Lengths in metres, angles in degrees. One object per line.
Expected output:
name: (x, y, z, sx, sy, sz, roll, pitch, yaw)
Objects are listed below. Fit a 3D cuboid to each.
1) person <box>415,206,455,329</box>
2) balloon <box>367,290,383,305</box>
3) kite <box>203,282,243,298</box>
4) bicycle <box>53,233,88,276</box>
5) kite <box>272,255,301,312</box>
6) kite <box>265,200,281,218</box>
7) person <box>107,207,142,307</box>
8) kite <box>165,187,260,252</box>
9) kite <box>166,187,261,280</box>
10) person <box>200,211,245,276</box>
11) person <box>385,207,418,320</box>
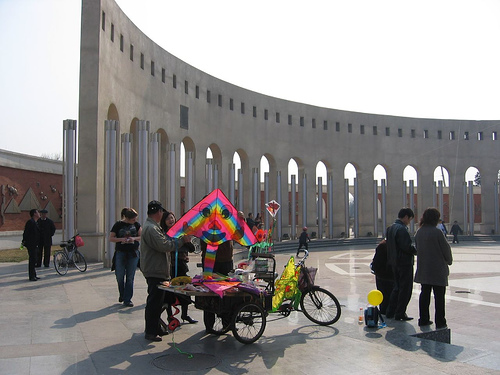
person: (4.055, 1.782, 10.390, 0.780, 2.595, 0.491, -4, -5, 27)
balloon: (2.701, 2.376, 10.094, 0.265, 0.364, 0.281, 16, 19, 23)
kite: (-0.527, 1.974, 9.023, 0.680, 0.258, 0.415, 2, -7, -34)
bicycle: (-6.714, 2.596, 17.446, 1.702, 1.219, 0.799, -3, 0, 30)
kite: (0.799, 2.096, 10.162, 0.589, 1.211, 0.513, 0, 21, 7)
kite: (1.560, 1.519, 31.463, 1.058, 1.418, 0.138, 16, 28, 21)
person: (-3.228, 1.811, 12.142, 0.853, 2.506, 0.829, 3, -7, -42)
kite: (-1.286, 1.005, 15.593, 3.268, 2.872, 0.024, 3, 2, -14)
kite: (-0.714, 1.036, 9.051, 1.831, 0.046, 2.614, 6, 39, -5)
person: (-0.776, 1.511, 11.456, 0.892, 1.311, 1.824, -4, 40, 3)
person: (3.593, 1.796, 10.989, 0.730, 2.594, 0.856, 3, -2, -22)
